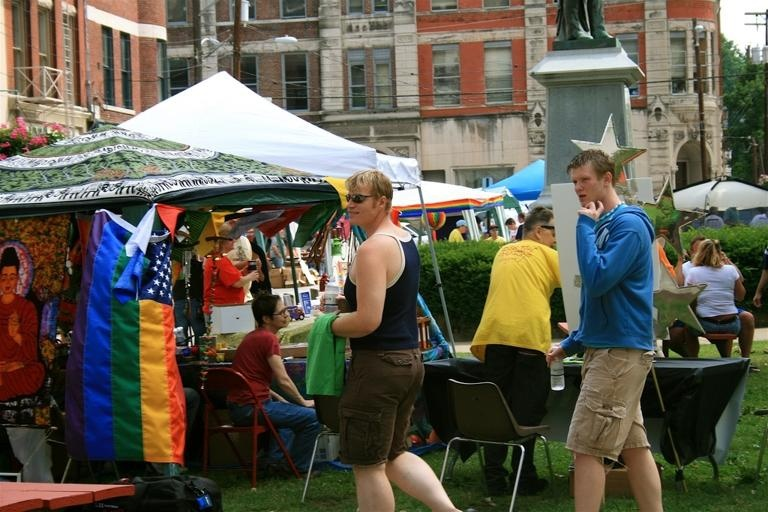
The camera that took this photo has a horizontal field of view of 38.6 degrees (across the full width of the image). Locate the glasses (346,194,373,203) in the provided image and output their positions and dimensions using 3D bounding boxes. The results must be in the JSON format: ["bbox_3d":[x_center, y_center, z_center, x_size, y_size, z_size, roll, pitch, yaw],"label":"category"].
[{"bbox_3d":[-0.203,-0.474,9.207,0.209,0.078,0.045,0,3,20],"label":"glasses"}]

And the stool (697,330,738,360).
[{"bbox_3d":[4.409,1.122,14.245,0.684,0.424,0.564,0,-5,2],"label":"stool"}]

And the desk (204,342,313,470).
[{"bbox_3d":[-1.132,1.676,11.619,1.103,1.297,0.803,6,8,-6],"label":"desk"}]

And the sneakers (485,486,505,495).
[{"bbox_3d":[1.109,2.280,10.698,0.131,0.082,0.119,2,1,5],"label":"sneakers"}]

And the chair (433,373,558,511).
[{"bbox_3d":[1.092,1.770,10.450,1.029,1.262,0.815,1,4,42],"label":"chair"}]

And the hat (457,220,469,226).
[{"bbox_3d":[1.862,-0.745,25.137,0.189,0.124,0.160,-6,8,-16],"label":"hat"}]
